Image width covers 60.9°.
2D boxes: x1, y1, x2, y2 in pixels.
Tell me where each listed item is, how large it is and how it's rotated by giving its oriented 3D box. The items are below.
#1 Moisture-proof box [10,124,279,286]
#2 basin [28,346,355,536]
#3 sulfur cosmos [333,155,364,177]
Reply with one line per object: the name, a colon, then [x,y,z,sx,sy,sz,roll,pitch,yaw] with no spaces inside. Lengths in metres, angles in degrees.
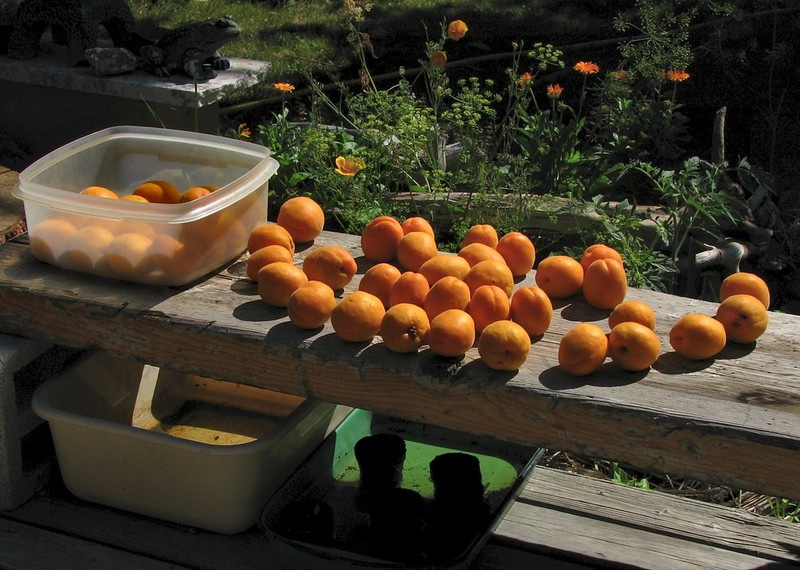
Moisture-proof box: [-0.746,-0.241,2.074,0.617,0.237,0.669,9,27,14]
basin: [-0.699,0.481,2.113,0.774,0.250,0.593,10,15,12]
sulfur cosmos: [-0.217,-0.477,2.826,0.090,0.046,0.097,37,63,27]
